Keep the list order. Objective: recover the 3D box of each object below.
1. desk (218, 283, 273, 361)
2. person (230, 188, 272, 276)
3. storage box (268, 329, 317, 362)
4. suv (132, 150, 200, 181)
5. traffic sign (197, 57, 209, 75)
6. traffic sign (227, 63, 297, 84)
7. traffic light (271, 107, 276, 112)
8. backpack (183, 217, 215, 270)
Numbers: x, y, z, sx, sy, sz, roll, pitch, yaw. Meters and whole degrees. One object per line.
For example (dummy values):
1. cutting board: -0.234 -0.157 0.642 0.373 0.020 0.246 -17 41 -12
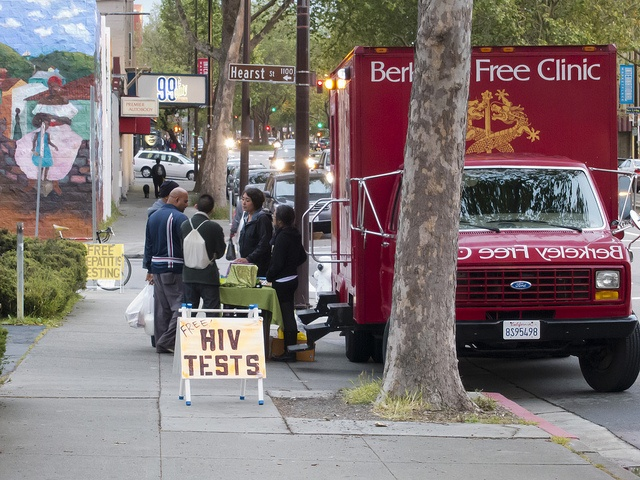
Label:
1. desk: -0.831 1.102 13.414 0.855 0.805 0.814 -13 -7 -28
2. person: -0.891 -0.109 13.902 0.475 1.233 0.909 2 6 -3
3. storage box: -0.371 1.468 13.669 0.489 0.292 0.480 0 3 -8
4. suv: -8.387 -3.959 52.773 3.514 1.121 1.552 1 7 15
5. traffic sign: -5.803 -8.705 49.799 0.462 0.817 1.968 1 6 -8
6. traffic sign: -0.962 -2.806 16.684 1.096 0.275 0.557 2 6 -4
7. traffic light: -2.605 -7.327 55.871 0.352 0.271 0.510 1 3 2
8. backpack: -1.612 0.024 12.864 0.436 0.708 0.416 4 1 9
